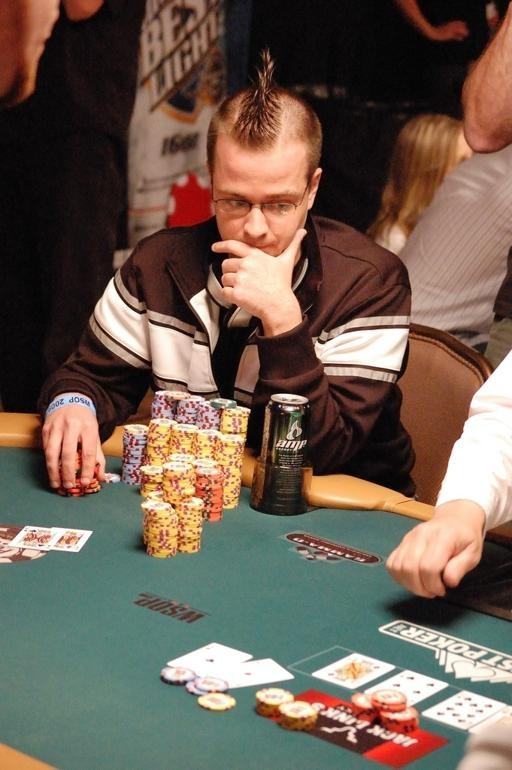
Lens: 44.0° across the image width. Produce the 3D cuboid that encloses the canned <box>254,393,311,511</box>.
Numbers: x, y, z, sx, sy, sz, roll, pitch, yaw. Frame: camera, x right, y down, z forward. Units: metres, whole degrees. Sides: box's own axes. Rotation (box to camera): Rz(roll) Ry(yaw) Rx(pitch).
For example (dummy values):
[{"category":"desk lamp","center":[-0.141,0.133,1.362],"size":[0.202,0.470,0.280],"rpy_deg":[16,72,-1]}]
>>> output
[{"category":"canned","center":[0.087,0.165,1.616],"size":[0.124,0.290,0.124],"rpy_deg":[-2,14,-34]}]

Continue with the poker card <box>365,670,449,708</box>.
[{"category":"poker card","center":[0.230,0.436,0.927],"size":[0.058,0.002,0.038],"rpy_deg":[-8,10,-35]}]
